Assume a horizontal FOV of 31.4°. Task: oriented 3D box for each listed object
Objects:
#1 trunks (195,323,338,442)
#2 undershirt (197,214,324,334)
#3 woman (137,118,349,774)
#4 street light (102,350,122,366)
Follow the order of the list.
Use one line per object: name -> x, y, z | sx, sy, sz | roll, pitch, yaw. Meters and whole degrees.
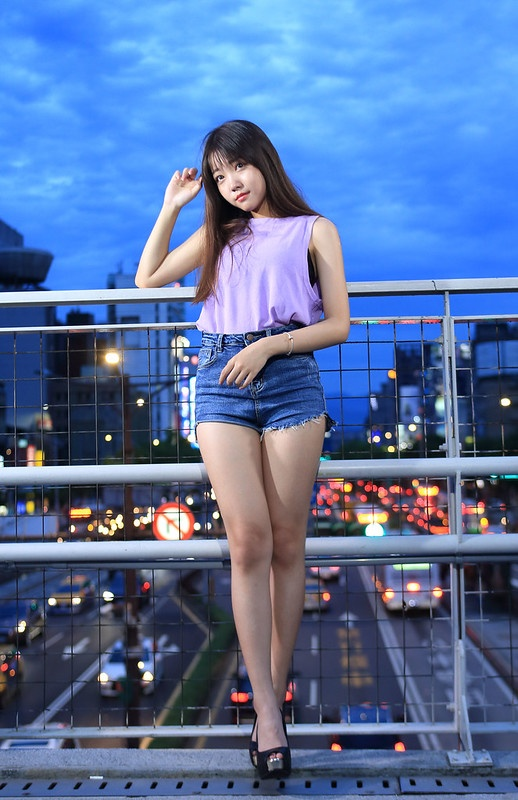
trunks -> 0.039, -0.030, 2.648 | 0.434, 0.323, 0.236 | -8, -8, 31
undershirt -> 0.000, -0.360, 2.681 | 0.407, 0.341, 0.227 | 7, 8, 27
woman -> -0.038, 0.103, 2.612 | 0.581, 1.815, 0.335 | 0, -12, -3
street light -> -0.549, -0.152, 3.483 | 0.069, 0.061, 0.016 | -2, 10, 29
